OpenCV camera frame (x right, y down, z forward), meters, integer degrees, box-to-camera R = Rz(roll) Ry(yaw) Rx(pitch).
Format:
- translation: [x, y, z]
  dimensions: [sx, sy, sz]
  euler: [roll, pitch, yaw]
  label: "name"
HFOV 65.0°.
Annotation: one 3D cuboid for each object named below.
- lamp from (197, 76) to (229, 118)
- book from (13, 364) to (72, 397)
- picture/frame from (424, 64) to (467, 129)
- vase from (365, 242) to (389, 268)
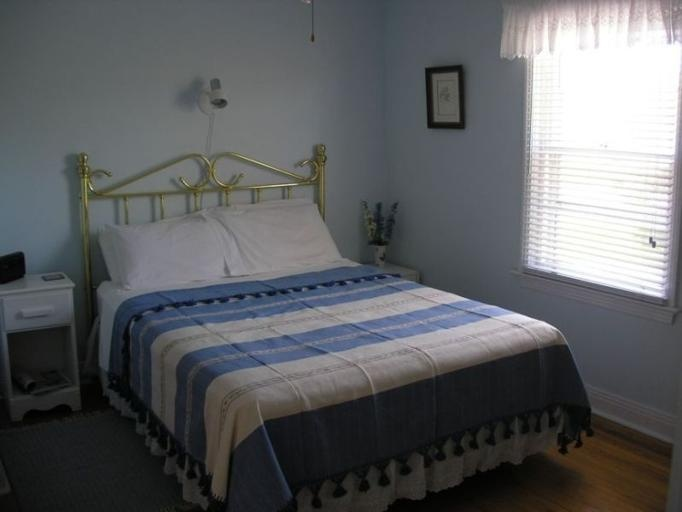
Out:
- translation: [-0.934, -1.172, 3.941]
  dimensions: [0.205, 0.214, 0.125]
  euler: [-13, -10, 15]
  label: "lamp"
- translation: [-1.949, 0.814, 3.486]
  dimensions: [0.198, 0.077, 0.259]
  euler: [-2, 6, -36]
  label: "book"
- translation: [0.844, -1.276, 4.252]
  dimensions: [0.041, 0.609, 0.497]
  euler: [-8, 10, -36]
  label: "picture/frame"
- translation: [0.314, -0.014, 4.722]
  dimensions: [0.179, 0.160, 0.185]
  euler: [0, 3, 14]
  label: "vase"
